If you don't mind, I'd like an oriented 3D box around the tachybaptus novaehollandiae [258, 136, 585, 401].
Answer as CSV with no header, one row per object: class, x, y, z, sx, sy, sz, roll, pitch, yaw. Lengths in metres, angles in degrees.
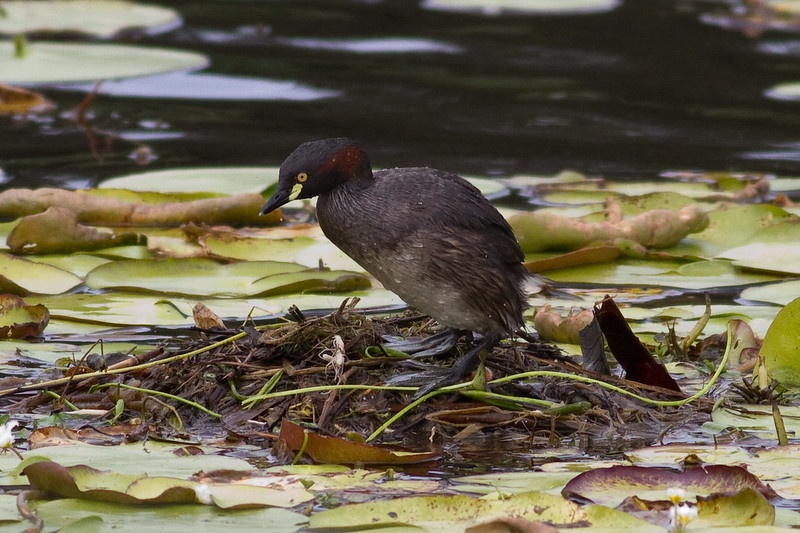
tachybaptus novaehollandiae,0.118,-0.031,4.932,0.866,1.401,0.786,-14,13,-32
